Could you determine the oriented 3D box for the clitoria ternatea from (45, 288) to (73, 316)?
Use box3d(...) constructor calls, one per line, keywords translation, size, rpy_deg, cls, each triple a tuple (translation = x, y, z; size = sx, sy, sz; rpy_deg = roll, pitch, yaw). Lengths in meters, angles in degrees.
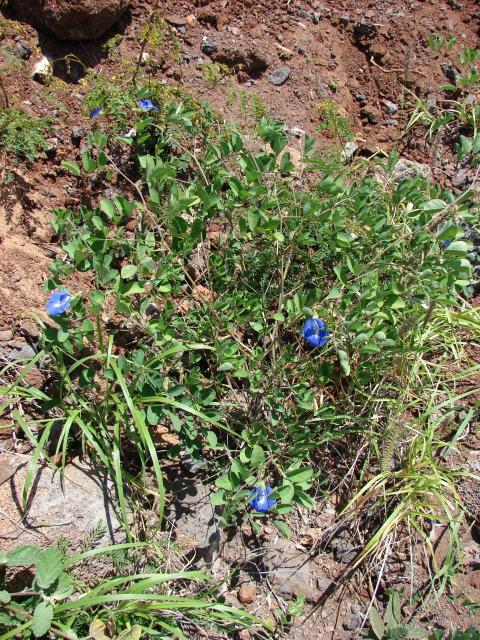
box3d(translation=(-0.720, -0.069, 2.265), size=(0.108, 0.036, 0.096), rpy_deg=(-25, 63, 2), cls="clitoria ternatea")
